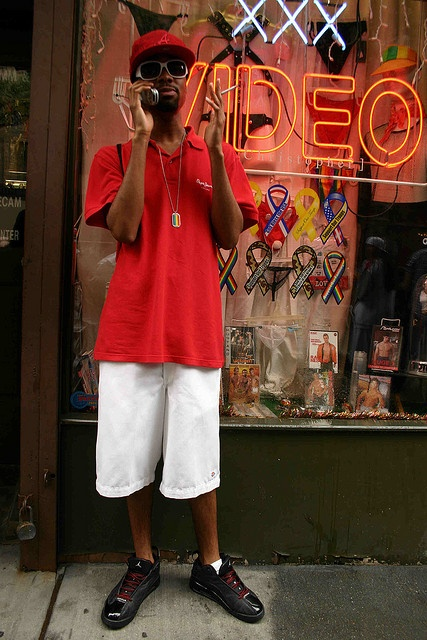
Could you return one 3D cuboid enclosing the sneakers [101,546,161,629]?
[{"bbox_3d":[-0.308,1.035,2.126,0.100,0.149,0.316,16,7,12],"label":"sneakers"}]

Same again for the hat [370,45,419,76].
[{"bbox_3d":[0.916,-1.301,2.718,0.179,0.094,0.136,-22,15,-36],"label":"hat"}]

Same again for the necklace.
[{"bbox_3d":[-0.154,-0.514,2.025,0.134,0.476,0.019,-14,-33,14],"label":"necklace"}]

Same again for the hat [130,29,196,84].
[{"bbox_3d":[-0.164,-0.994,2.053,0.193,0.168,0.360,5,39,2],"label":"hat"}]

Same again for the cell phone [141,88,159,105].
[{"bbox_3d":[-0.230,-0.803,1.953,0.024,0.053,0.062,-12,8,-40],"label":"cell phone"}]

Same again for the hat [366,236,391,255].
[{"bbox_3d":[0.826,-0.381,2.719,0.091,0.055,0.073,14,16,-19],"label":"hat"}]

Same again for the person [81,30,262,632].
[{"bbox_3d":[-0.142,0.044,2.052,0.664,2.161,0.496,-1,9,-16],"label":"person"}]
